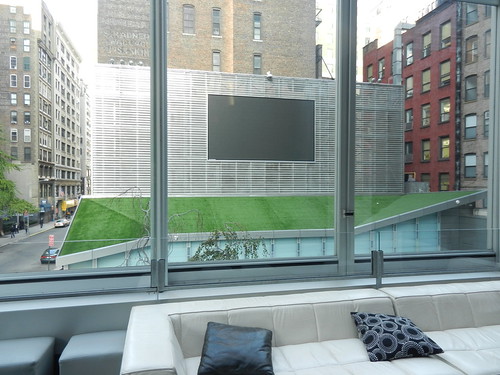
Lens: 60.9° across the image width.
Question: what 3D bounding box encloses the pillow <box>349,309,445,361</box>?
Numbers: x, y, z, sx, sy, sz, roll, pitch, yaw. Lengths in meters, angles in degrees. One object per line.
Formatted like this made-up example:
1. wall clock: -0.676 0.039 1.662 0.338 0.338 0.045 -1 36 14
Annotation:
1. pillow: 1.219 1.245 3.559 0.401 0.123 0.419 0 14 -11
